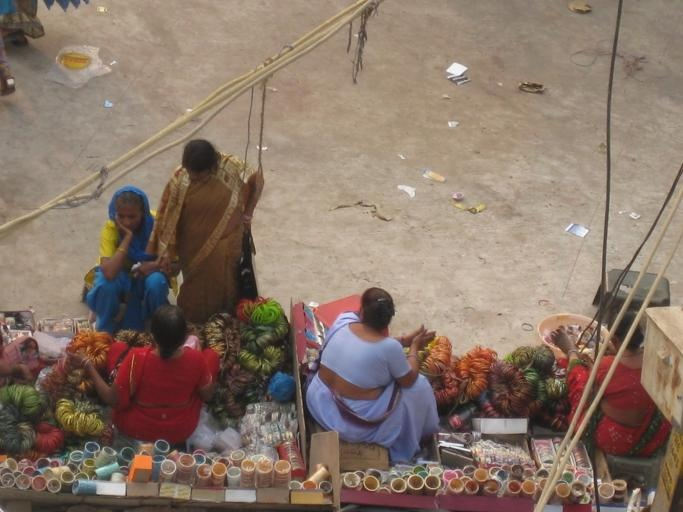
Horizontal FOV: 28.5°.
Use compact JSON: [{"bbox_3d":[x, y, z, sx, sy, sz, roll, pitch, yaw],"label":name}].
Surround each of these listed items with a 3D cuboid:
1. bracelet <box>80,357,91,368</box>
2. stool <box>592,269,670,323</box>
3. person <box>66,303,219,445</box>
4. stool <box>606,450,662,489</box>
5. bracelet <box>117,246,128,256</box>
[{"bbox_3d":[-2.106,0.893,11.121,0.020,0.075,0.078,-10,28,-45],"label":"bracelet"},{"bbox_3d":[2.706,0.348,12.602,0.652,0.642,0.536,-1,-6,15],"label":"stool"},{"bbox_3d":[-1.630,0.924,11.338,1.377,1.389,1.081,4,37,-15],"label":"person"},{"bbox_3d":[2.473,1.822,11.357,0.333,0.206,0.326,3,36,7],"label":"stool"},{"bbox_3d":[-1.932,-0.042,11.884,0.083,0.073,0.040,1,18,-14],"label":"bracelet"}]
